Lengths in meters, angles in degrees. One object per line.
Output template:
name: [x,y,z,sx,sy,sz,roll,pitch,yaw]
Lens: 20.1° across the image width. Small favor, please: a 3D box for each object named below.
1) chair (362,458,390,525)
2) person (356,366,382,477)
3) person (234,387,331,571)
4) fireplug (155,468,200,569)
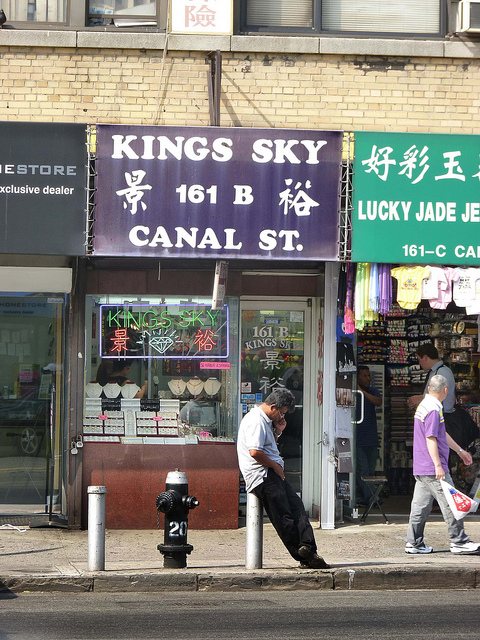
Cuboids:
chair: [1.501,1.902,15.001,0.370,0.659,0.578,2,-4,5]
person: [1.497,1.186,15.918,0.322,1.269,0.275,1,0,-5]
person: [0.372,1.409,12.195,0.808,1.658,0.610,-1,-2,21]
fireplug: [-0.579,1.774,12.109,0.367,0.852,0.479,4,9,-3]
